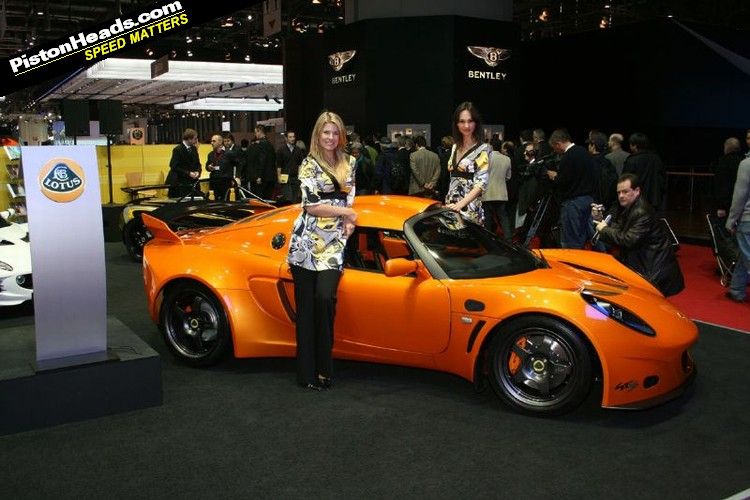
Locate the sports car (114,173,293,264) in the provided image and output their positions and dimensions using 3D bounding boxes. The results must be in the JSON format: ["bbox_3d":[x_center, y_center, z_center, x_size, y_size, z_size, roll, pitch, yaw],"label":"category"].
[{"bbox_3d":[-3.430,-0.637,8.781,2.928,0.959,1.722,-10,12,6],"label":"sports car"}]

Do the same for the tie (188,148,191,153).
[{"bbox_3d":[-4.118,-2.203,11.055,0.081,0.123,0.033,1,1,-25],"label":"tie"}]

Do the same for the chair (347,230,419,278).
[{"bbox_3d":[-0.011,-0.001,4.658,0.500,0.408,0.501,5,6,-8],"label":"chair"}]

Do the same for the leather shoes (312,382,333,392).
[{"bbox_3d":[-0.488,1.245,4.507,0.131,0.057,0.080,-8,-9,8],"label":"leather shoes"}]

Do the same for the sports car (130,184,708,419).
[{"bbox_3d":[0.312,0.446,4.639,3.834,1.218,2.403,3,10,15],"label":"sports car"}]
